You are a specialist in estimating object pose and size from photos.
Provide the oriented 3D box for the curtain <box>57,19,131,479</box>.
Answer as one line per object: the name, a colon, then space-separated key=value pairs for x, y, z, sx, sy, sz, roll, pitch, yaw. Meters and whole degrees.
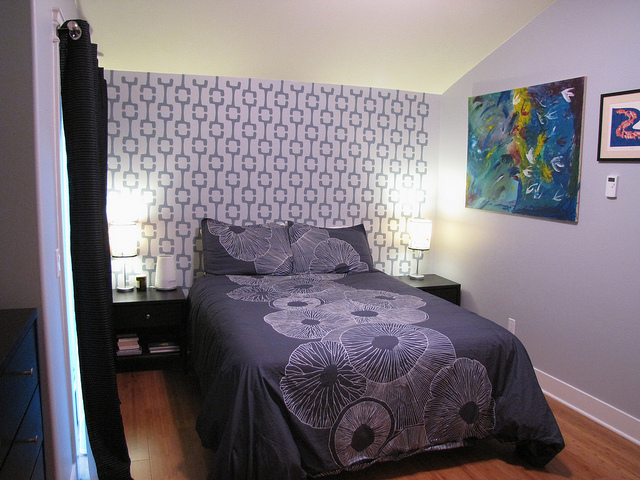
curtain: x=-1.200 y=0.112 z=2.425 sx=0.198 sy=2.093 sz=0.603 roll=0 pitch=8 yaw=-21

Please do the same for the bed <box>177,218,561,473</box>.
bed: x=0.107 y=0.650 z=3.308 sx=2.054 sy=1.141 sz=2.221 roll=-3 pitch=12 yaw=-19

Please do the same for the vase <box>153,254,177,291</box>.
vase: x=-1.327 y=0.295 z=3.946 sx=0.239 sy=0.318 sz=0.255 roll=0 pitch=2 yaw=-37

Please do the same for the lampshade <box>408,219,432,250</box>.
lampshade: x=1.040 y=-0.049 z=4.683 sx=0.259 sy=0.297 sz=0.262 roll=3 pitch=7 yaw=9

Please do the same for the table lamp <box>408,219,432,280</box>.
table lamp: x=1.001 y=0.116 z=4.669 sx=0.218 sy=0.574 sz=0.224 roll=4 pitch=2 yaw=21

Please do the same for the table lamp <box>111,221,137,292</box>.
table lamp: x=-1.606 y=0.138 z=3.816 sx=0.207 sy=0.579 sz=0.211 roll=-1 pitch=6 yaw=-20

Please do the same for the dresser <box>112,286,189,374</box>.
dresser: x=-1.448 y=0.718 z=3.881 sx=0.573 sy=0.539 sz=0.428 roll=-2 pitch=12 yaw=-23

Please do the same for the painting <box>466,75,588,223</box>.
painting: x=1.657 y=-0.714 z=3.838 sx=0.017 sy=1.064 sz=1.021 roll=-16 pitch=20 yaw=-30
